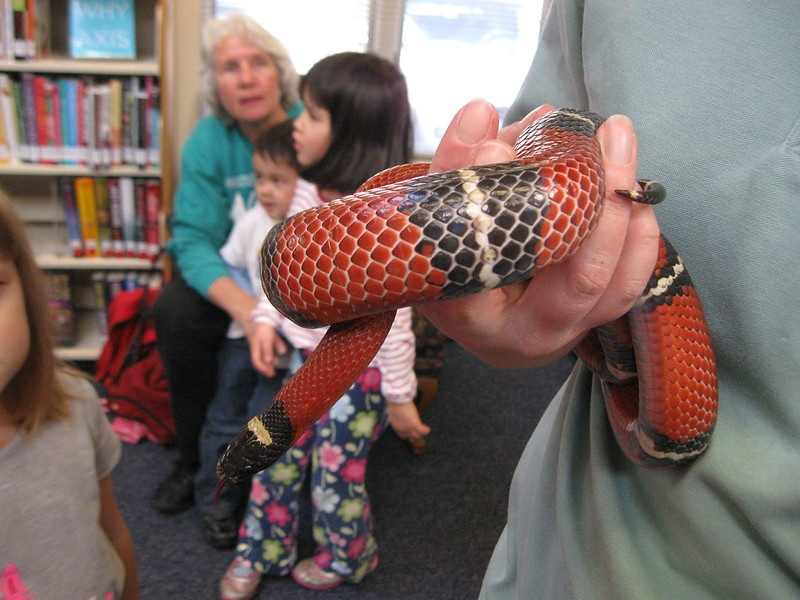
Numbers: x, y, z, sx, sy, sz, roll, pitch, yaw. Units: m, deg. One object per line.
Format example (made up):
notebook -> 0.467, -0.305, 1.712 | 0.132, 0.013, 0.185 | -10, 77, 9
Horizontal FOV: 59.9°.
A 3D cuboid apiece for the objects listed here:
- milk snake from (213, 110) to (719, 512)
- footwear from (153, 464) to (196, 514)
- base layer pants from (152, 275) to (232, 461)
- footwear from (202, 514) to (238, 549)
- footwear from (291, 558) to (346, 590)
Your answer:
milk snake -> 0.184, 0.004, 1.303 | 0.797, 0.334, 0.626 | -32, 43, -16
footwear -> -1.113, 0.908, 3.423 | 0.214, 0.165, 0.246 | -6, 26, -18
base layer pants -> -1.003, 0.354, 3.291 | 0.207, 0.820, 0.272 | 11, 11, 17
footwear -> -0.815, 1.064, 3.185 | 0.157, 0.149, 0.120 | 1, -17, -5
footwear -> -0.356, 1.156, 2.982 | 0.183, 0.075, 0.114 | 10, 18, -9
